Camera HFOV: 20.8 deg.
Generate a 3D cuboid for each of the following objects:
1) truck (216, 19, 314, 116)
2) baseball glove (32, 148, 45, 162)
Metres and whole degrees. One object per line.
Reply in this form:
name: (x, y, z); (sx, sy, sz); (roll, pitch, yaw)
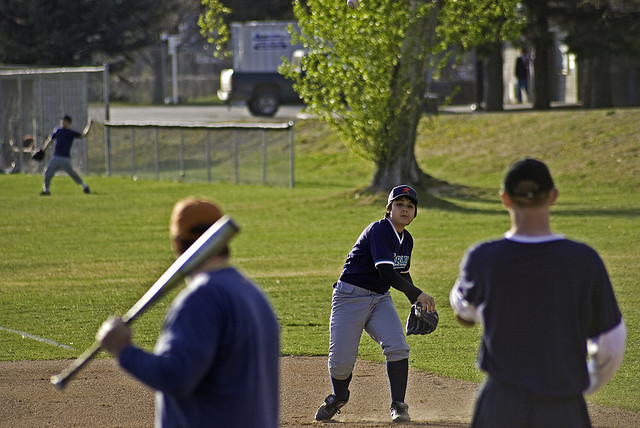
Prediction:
truck: (-0.658, -5.213, 61.924); (4.625, 3.326, 2.902); (2, 11, 27)
baseball glove: (-8.226, -1.767, 50.924); (0.320, 0.333, 0.448); (0, 3, -5)
